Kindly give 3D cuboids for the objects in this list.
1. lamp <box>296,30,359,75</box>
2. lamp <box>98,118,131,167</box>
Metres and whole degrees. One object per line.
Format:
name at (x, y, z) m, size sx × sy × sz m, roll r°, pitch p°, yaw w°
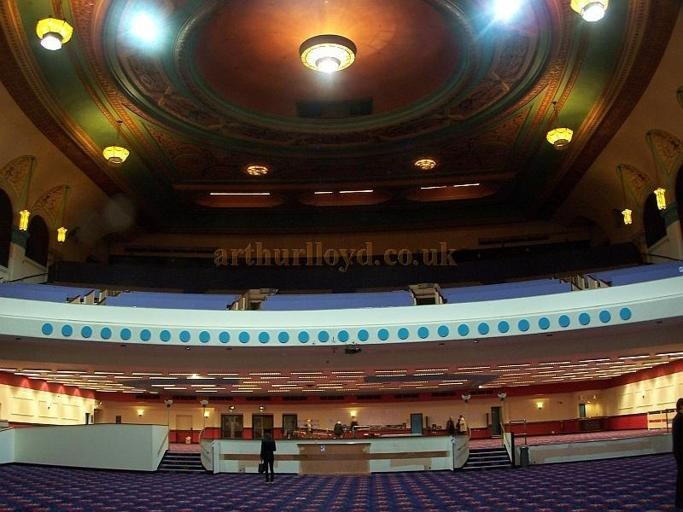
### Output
lamp at (-0.432, -6.057, 15.799) m, size 1.641 × 0.767 × 0.876 m, roll -3°, pitch -24°, yaw -2°
lamp at (-8.141, -4.124, 18.963) m, size 1.001 × 2.063 × 1.163 m, roll 9°, pitch -23°, yaw -19°
